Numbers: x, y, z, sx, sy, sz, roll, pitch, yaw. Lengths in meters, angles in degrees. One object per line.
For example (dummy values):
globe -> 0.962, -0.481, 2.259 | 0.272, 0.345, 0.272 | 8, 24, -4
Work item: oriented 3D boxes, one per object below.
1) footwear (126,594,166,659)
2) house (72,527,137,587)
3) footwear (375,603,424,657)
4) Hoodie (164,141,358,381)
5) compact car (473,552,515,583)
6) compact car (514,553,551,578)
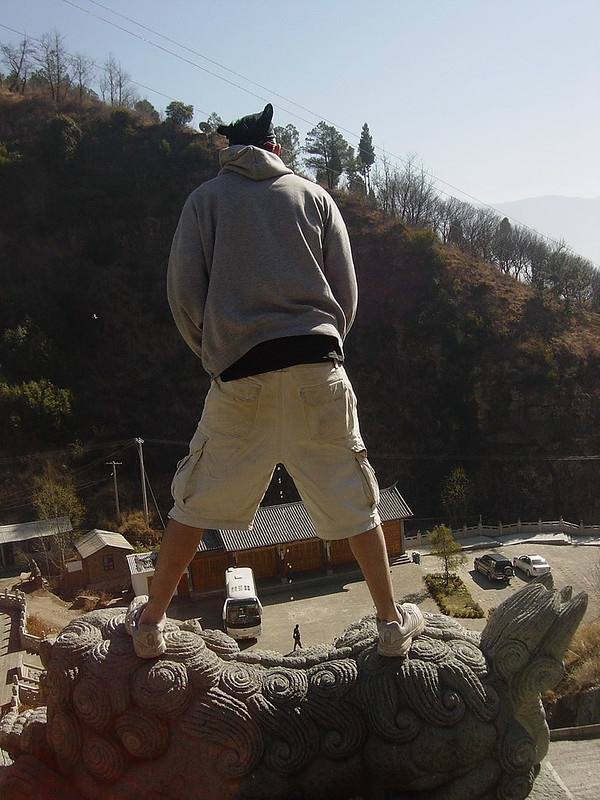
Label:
footwear -> -0.780, 1.141, 3.232 | 0.150, 0.148, 0.362 | -1, 21, -9
house -> -5.226, 4.064, 16.708 | 1.339, 0.874, 2.054 | -5, 5, -27
footwear -> 0.510, 1.168, 3.254 | 0.139, 0.147, 0.339 | -1, 14, 18
Hoodie -> -0.174, -0.668, 3.063 | 0.840, 1.103, 0.452 | 8, 9, 12
compact car -> 4.826, 4.200, 15.664 | 0.557, 0.670, 0.915 | 4, 9, -14
compact car -> 5.738, 4.185, 15.646 | 0.592, 0.585, 1.134 | 6, 9, 2
